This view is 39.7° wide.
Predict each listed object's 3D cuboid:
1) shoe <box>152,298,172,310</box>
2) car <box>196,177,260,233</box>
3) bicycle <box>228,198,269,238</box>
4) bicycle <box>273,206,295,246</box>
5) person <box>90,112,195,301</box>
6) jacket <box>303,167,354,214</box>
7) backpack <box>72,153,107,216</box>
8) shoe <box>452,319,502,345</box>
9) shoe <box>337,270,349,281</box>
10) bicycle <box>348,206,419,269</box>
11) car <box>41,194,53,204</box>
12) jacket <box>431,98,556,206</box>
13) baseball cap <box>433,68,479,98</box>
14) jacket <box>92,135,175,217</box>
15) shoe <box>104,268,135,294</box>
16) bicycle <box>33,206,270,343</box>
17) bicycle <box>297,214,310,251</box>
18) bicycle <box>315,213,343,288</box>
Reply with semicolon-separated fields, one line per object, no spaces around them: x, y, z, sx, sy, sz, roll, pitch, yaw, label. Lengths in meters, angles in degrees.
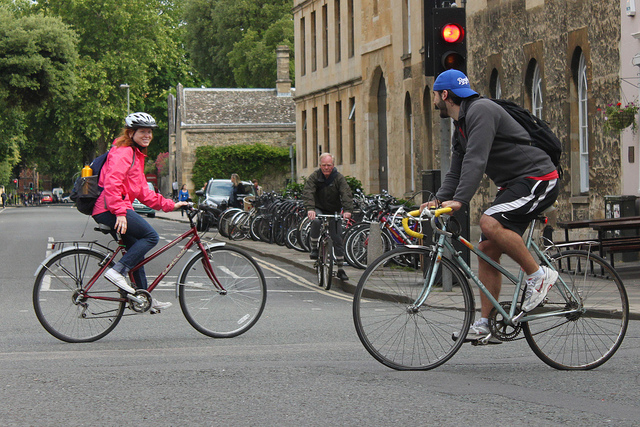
-1.813;1.070;10.415;0.291;0.127;0.099;-1;-2;-1;shoe
-3.344;-0.518;30.043;1.858;1.570;3.077;1;-2;-5;car
-2.144;0.139;25.491;1.370;0.864;0.806;-4;4;4;bicycle
-1.013;0.302;22.798;0.669;0.907;0.211;12;-3;-44;bicycle
-2.185;-0.113;10.447;0.679;2.199;0.779;1;1;39;person
0.178;-0.406;15.580;0.838;0.874;0.699;0;-7;15;jacket
-2.708;-0.372;10.566;0.440;0.743;0.569;5;-2;-5;backpack
1.597;1.162;8.905;0.550;0.276;0.203;-3;-12;3;shoe
0.412;1.048;15.211;0.190;0.182;0.302;0;1;-10;shoe
1.295;0.494;16.452;1.317;0.812;0.752;-9;-3;-24;bicycle
-31.964;-1.758;103.962;1.101;0.866;1.914;0;1;-12;car
1.732;-0.595;8.923;1.262;1.164;1.029;0;-1;14;jacket
1.376;-1.319;8.926;0.495;0.277;0.323;13;13;36;baseball cap
-2.220;-0.448;10.619;0.725;1.080;0.934;12;0;30;jacket
-2.307;0.765;10.311;0.436;0.186;0.146;38;-2;-15;shoe
-1.974;0.723;10.480;2.700;1.577;1.241;0;-1;-16;bicycle
-0.389;0.470;20.803;0.253;0.690;0.676;-1;4;-24;bicycle
0.152;0.631;15.227;0.411;1.285;1.020;0;1;-6;bicycle
